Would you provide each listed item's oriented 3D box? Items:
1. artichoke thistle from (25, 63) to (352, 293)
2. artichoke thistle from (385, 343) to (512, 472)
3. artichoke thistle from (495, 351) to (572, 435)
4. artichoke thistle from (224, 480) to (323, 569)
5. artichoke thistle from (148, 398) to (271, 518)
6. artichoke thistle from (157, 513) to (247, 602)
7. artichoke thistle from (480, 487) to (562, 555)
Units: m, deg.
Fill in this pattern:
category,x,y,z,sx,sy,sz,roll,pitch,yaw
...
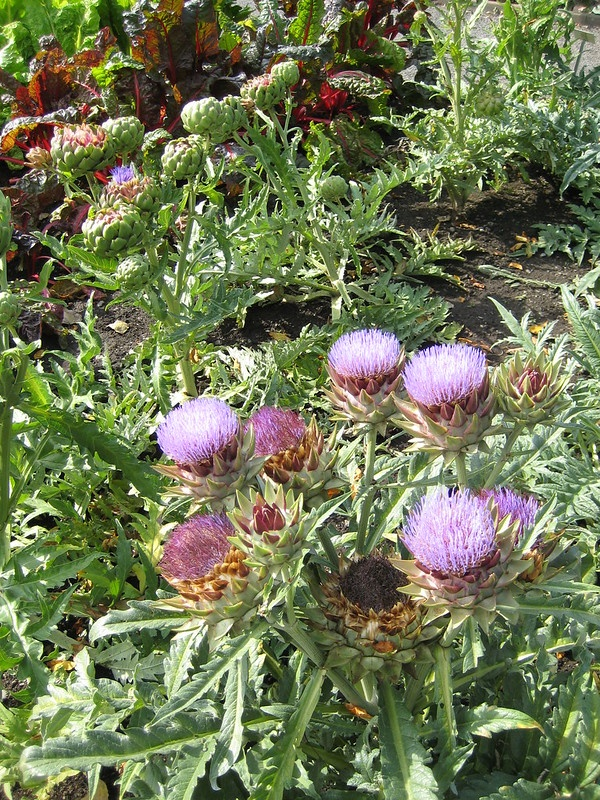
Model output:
category,x,y,z,sx,sy,sz,roll,pitch,yaw
artichoke thistle,-0.462,-0.829,2.857,1.233,0.592,1.136,5,33,19
artichoke thistle,0.246,0.013,1.315,0.169,0.168,0.197,-1,45,14
artichoke thistle,0.401,-0.001,1.334,0.122,0.105,0.106,-8,13,-41
artichoke thistle,-0.040,0.213,1.265,0.151,0.121,0.138,-13,42,2
artichoke thistle,-0.137,0.120,1.471,0.209,0.233,0.194,4,50,15
artichoke thistle,-0.131,0.295,1.311,0.150,0.082,0.146,-22,25,29
artichoke thistle,0.373,0.207,1.371,0.173,0.090,0.152,5,-2,-32
